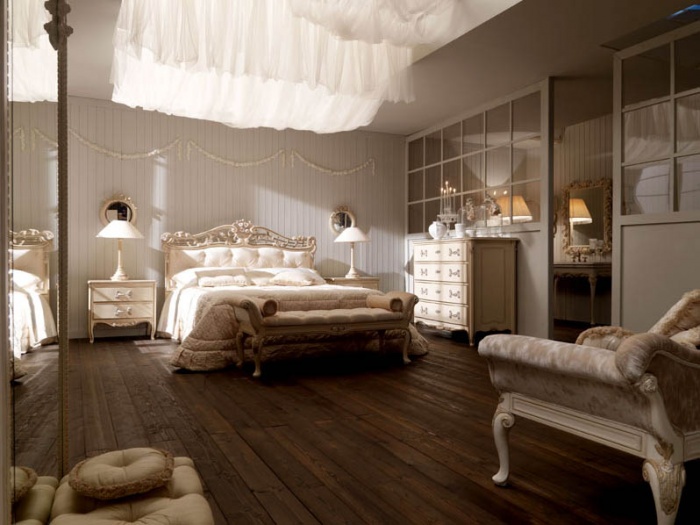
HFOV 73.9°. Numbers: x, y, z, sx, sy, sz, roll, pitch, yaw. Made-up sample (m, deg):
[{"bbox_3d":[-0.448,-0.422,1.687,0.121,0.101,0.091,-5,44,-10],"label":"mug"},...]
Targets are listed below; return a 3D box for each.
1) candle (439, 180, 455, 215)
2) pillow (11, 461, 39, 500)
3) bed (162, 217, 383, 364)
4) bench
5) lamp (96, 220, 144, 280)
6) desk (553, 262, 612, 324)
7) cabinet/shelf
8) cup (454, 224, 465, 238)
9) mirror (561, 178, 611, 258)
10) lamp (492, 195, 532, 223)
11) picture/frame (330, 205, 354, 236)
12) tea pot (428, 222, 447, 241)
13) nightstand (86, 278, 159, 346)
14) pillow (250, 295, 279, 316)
[{"bbox_3d":[1.538,-1.021,7.320,0.065,0.517,0.394,-1,2,-22],"label":"candle"},{"bbox_3d":[-1.127,0.709,1.602,0.044,0.129,0.133,17,24,-26],"label":"pillow"},{"bbox_3d":[-1.364,0.225,5.858,2.074,1.420,1.941,-1,-1,-28],"label":"bed"},{"bbox_3d":[-0.274,0.671,4.738,1.830,0.719,0.589,0,2,-21],"label":"bench"},{"bbox_3d":[-3.097,-0.183,6.236,0.511,0.795,0.590,-1,2,-30],"label":"lamp"},{"bbox_3d":[3.697,0.474,7.837,0.654,0.990,1.124,4,-1,22],"label":"desk"},{"bbox_3d":[1.575,0.373,6.704,0.834,1.446,1.411,-1,1,-27],"label":"cabinet/shelf"},{"bbox_3d":[1.544,-0.455,6.619,0.172,0.206,0.180,-1,1,0],"label":"cup"},{"bbox_3d":[3.864,-0.699,7.683,0.091,1.323,0.875,-1,2,-32],"label":"mirror"},{"bbox_3d":[2.225,-0.729,6.279,0.165,0.383,0.655,0,1,-20],"label":"lamp"},{"bbox_3d":[-0.165,-0.697,7.682,0.514,0.551,0.085,-1,4,-36],"label":"picture/frame"},{"bbox_3d":[1.311,-0.469,7.046,0.260,0.321,0.261,-1,0,0],"label":"tea pot"},{"bbox_3d":[-3.055,0.581,6.258,0.795,0.792,0.576,0,10,-29],"label":"nightstand"},{"bbox_3d":[-0.820,0.395,4.375,0.124,0.148,0.251,-11,18,-32],"label":"pillow"}]
